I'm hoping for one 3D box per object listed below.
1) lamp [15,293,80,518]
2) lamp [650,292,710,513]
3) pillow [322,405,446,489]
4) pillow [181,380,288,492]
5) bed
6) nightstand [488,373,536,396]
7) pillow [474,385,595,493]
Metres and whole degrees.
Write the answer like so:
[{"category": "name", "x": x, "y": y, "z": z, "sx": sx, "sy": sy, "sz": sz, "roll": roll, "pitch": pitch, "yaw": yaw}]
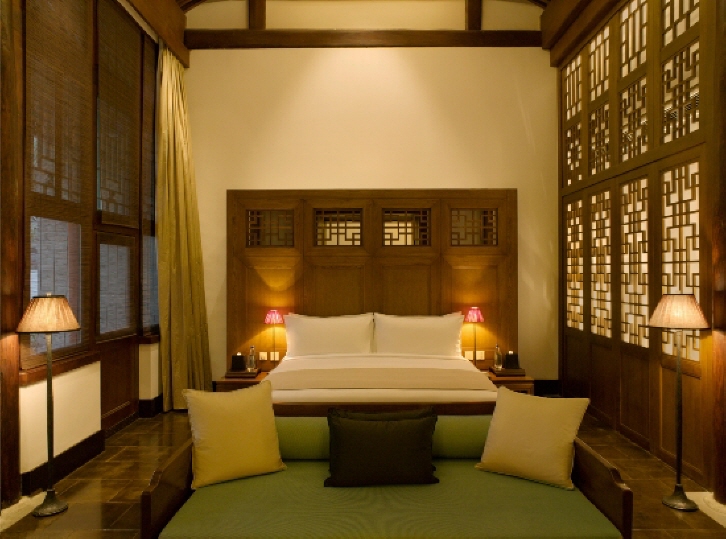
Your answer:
[{"category": "lamp", "x": -2.490, "y": 1.006, "z": 4.668, "sx": 0.625, "sy": 1.644, "sz": 0.457, "roll": 9, "pitch": 14, "yaw": 42}, {"category": "lamp", "x": 2.506, "y": 0.974, "z": 4.766, "sx": 0.423, "sy": 1.592, "sz": 0.803, "roll": 5, "pitch": 12, "yaw": 28}, {"category": "pillow", "x": 0.145, "y": 1.313, "z": 4.203, "sx": 0.770, "sy": 0.627, "sz": 0.331, "roll": -1, "pitch": -31, "yaw": 2}, {"category": "pillow", "x": -0.893, "y": 1.211, "z": 4.220, "sx": 0.519, "sy": 0.609, "sz": 0.199, "roll": -4, "pitch": -20, "yaw": -26}, {"category": "bed", "x": 0.139, "y": 0.834, "z": 5.668, "sx": 2.023, "sy": 0.397, "sz": 1.850, "roll": 1, "pitch": 12, "yaw": 7}, {"category": "nightstand", "x": 1.433, "y": 1.114, "z": 5.732, "sx": 0.343, "sy": 0.260, "sz": 0.369, "roll": -1, "pitch": -2, "yaw": 0}, {"category": "pillow", "x": 1.207, "y": 1.210, "z": 4.240, "sx": 0.669, "sy": 0.658, "sz": 0.360, "roll": -1, "pitch": -17, "yaw": 38}]
